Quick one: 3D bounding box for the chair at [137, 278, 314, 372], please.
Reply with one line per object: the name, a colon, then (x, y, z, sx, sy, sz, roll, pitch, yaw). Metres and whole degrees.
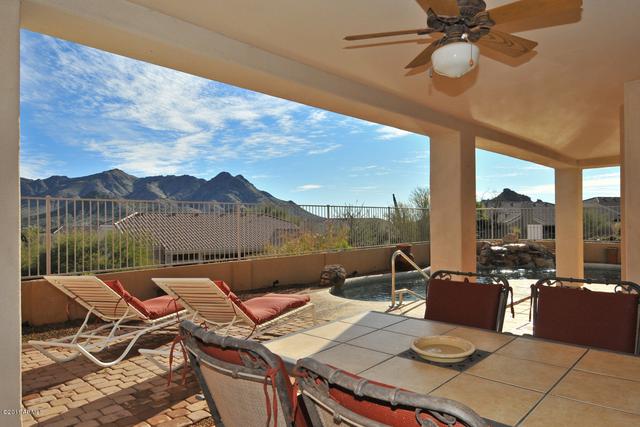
chair: (-1.015, 1.224, 4.923, 1.121, 0.796, 2.192, -3, 1, 33)

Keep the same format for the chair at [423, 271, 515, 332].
chair: (1.437, 0.800, 3.695, 0.607, 0.663, 0.735, 2, -2, 32)

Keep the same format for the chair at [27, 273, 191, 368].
chair: (-2.550, 1.388, 5.467, 1.082, 0.837, 2.510, -1, -2, 20)
